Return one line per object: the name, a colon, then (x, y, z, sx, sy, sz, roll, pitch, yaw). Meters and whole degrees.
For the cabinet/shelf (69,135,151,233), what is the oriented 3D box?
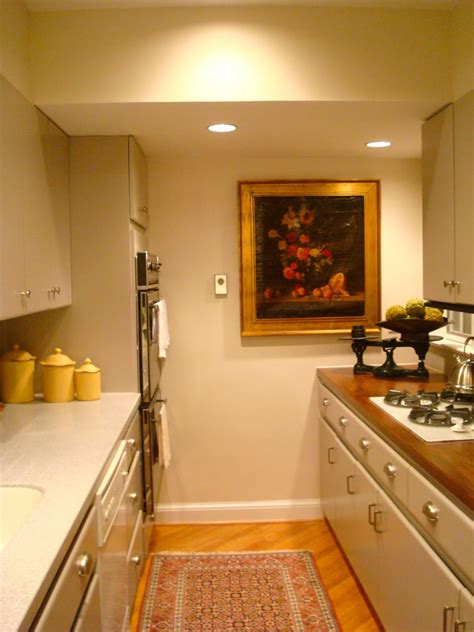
cabinet/shelf: (-0.595, -0.517, 2.558, 0.319, 0.542, 0.860, -2, 8, -3)

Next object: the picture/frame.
picture/frame: (0.400, -0.386, 2.977, 0.941, 1.089, 0.050, -1, 5, -4)

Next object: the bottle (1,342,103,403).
bottle: (-0.822, 0.253, 2.177, 0.425, 0.204, 0.186, -2, 1, -15)
